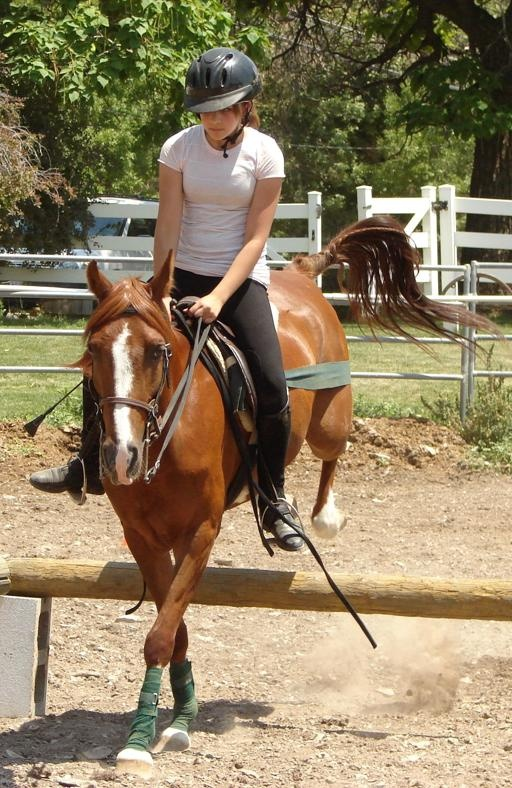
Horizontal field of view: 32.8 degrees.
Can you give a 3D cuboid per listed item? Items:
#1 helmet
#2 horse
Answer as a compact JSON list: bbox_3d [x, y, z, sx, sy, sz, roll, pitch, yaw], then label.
[{"bbox_3d":[-0.132,-1.197,3.344,0.249,0.156,0.320,5,24,23],"label":"helmet"},{"bbox_3d":[0.147,0.092,4.007,0.662,1.663,2.887,6,17,27],"label":"horse"}]
